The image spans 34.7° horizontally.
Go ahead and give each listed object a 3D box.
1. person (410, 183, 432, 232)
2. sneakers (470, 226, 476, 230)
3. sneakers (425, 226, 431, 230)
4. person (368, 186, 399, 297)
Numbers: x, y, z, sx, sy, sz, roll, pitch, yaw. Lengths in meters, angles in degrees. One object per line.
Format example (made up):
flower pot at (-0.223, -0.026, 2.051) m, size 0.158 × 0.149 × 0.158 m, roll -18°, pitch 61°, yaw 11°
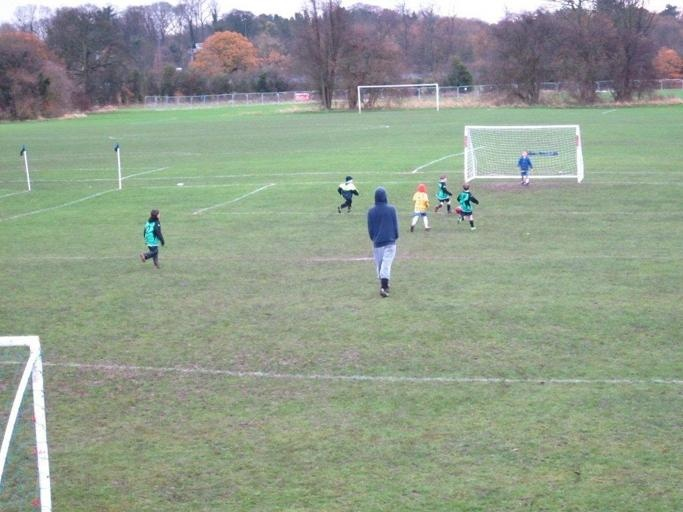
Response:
person at (2.501, -1.502, 33.312) m, size 0.882 × 1.346 × 0.691 m, roll 0°, pitch 3°, yaw 7°
sneakers at (4.042, -0.881, 33.670) m, size 0.096 × 0.093 × 0.247 m, roll 4°, pitch 15°, yaw 24°
sneakers at (2.647, -0.884, 33.616) m, size 0.127 × 0.070 × 0.159 m, roll 0°, pitch 3°, yaw 16°
person at (1.092, -0.368, 28.156) m, size 0.725 × 2.796 × 0.349 m, roll -5°, pitch 9°, yaw 1°
